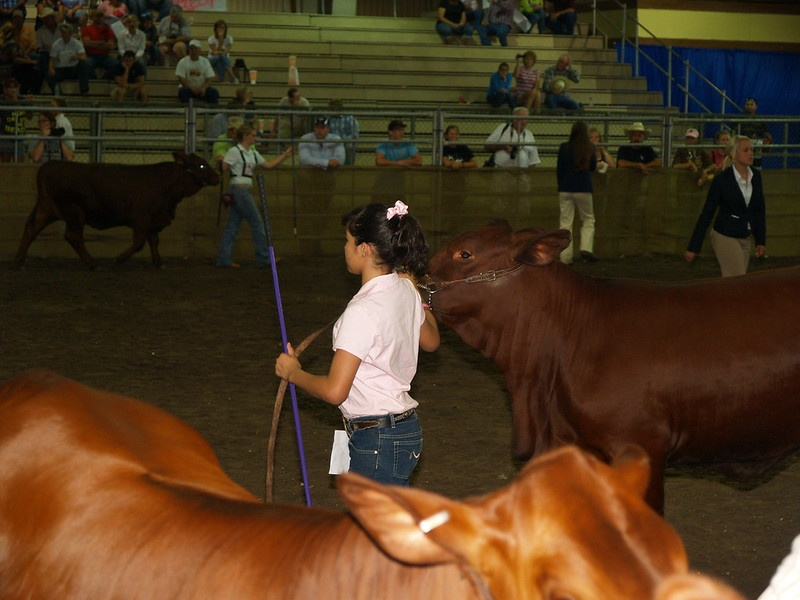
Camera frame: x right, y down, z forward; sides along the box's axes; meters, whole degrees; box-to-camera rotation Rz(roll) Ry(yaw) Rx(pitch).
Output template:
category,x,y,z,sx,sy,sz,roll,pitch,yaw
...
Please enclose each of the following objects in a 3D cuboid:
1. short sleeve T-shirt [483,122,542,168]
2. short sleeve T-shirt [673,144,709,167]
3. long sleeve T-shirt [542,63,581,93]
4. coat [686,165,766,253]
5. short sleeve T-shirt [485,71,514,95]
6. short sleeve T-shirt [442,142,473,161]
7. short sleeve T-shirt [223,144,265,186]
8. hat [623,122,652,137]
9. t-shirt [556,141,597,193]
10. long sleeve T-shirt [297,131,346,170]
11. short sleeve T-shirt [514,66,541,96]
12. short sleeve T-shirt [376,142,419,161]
category,x,y,z,sx,sy,sz,roll,pitch,yaw
short sleeve T-shirt,1.578,-2.107,14.608,0.735,0.591,0.694,0,16,-2
short sleeve T-shirt,4.156,-2.045,15.125,0.356,0.279,0.183,0,-5,-3
long sleeve T-shirt,2.935,-4.116,19.459,0.671,0.736,0.188,2,9,-18
coat,2.573,-0.694,8.262,0.655,0.686,0.265,-5,17,-8
short sleeve T-shirt,1.898,-3.942,19.411,0.380,0.533,0.453,-4,20,-22
short sleeve T-shirt,0.798,-1.983,14.259,0.408,0.252,0.364,2,16,4
short sleeve T-shirt,-1.854,-1.612,12.811,0.576,0.523,0.228,1,5,-34
hat,3.487,-2.480,15.494,0.338,0.161,0.397,4,-12,21
t-shirt,2.256,-1.690,13.572,0.535,0.730,0.495,1,11,9
long sleeve T-shirt,-1.007,-1.944,13.955,0.397,0.390,0.546,-3,16,-5
short sleeve T-shirt,2.317,-3.940,19.147,0.430,0.490,0.459,1,16,0
short sleeve T-shirt,-0.019,-1.982,14.129,0.549,0.265,0.293,1,16,1
